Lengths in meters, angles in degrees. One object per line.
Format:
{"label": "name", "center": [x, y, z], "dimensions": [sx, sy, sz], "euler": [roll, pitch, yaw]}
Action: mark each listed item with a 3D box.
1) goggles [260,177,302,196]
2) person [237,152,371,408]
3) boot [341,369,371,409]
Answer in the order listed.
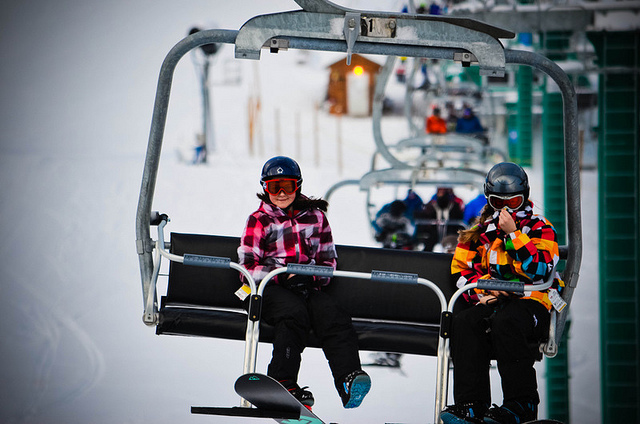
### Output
{"label": "goggles", "center": [-0.377, -0.223, 15.186], "dimensions": [0.401, 0.177, 0.132], "euler": [2, 1, -5]}
{"label": "person", "center": [-0.192, 0.661, 14.996], "dimensions": [1.194, 2.323, 0.923], "euler": [2, 2, -4]}
{"label": "boot", "center": [0.321, 1.669, 14.728], "dimensions": [0.186, 0.431, 0.197], "euler": [22, 15, -18]}
